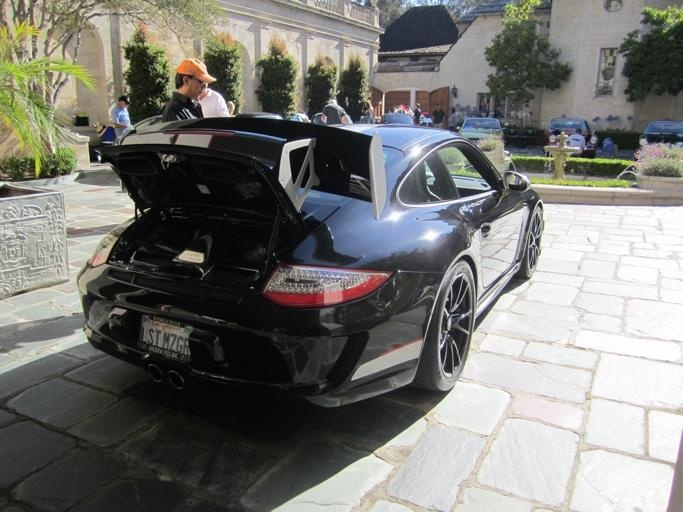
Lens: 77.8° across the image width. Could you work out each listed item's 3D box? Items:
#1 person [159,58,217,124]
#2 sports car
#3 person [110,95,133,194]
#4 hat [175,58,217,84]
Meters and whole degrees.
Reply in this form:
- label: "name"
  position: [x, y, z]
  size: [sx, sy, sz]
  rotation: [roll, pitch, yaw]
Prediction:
- label: "person"
  position: [-1.578, -1.703, 4.509]
  size: [0.516, 0.722, 0.747]
  rotation: [2, 19, -7]
- label: "sports car"
  position: [0.251, -0.269, 3.211]
  size: [1.687, 1.109, 3.184]
  rotation: [10, 22, 30]
- label: "person"
  position: [-7.294, -3.999, 14.067]
  size: [0.738, 2.532, 0.884]
  rotation: [7, 31, -23]
- label: "hat"
  position: [-1.426, -1.878, 4.432]
  size: [0.512, 0.258, 0.319]
  rotation: [-10, 46, -23]
